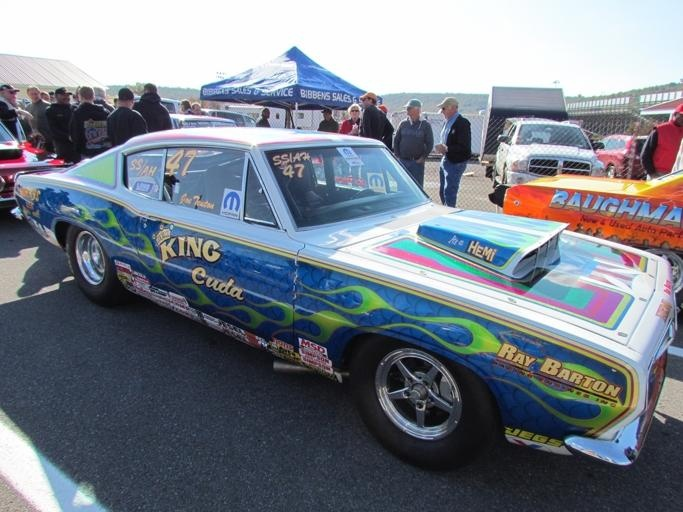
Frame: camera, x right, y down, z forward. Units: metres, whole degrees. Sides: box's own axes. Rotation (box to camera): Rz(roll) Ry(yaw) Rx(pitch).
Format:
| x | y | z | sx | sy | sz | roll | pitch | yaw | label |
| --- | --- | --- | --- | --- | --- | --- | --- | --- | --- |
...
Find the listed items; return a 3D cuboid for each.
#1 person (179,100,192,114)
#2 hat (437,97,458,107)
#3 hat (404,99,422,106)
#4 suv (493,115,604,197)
| x | y | z | sx | sy | sz | roll | pitch | yaw | label |
| --- | --- | --- | --- | --- | --- | --- | --- | --- | --- |
| -4.604 | -4.404 | 13.000 | 0.318 | 0.396 | 0.928 | -8 | 23 | -17 | person |
| 1.749 | -2.543 | 7.284 | 0.310 | 0.147 | 0.182 | 9 | 45 | 16 | hat |
| 1.207 | -2.555 | 7.376 | 0.247 | 0.117 | 0.164 | 4 | 15 | 9 | hat |
| 4.811 | -2.436 | 10.181 | 2.226 | 1.632 | 3.885 | 0 | 17 | 6 | suv |
